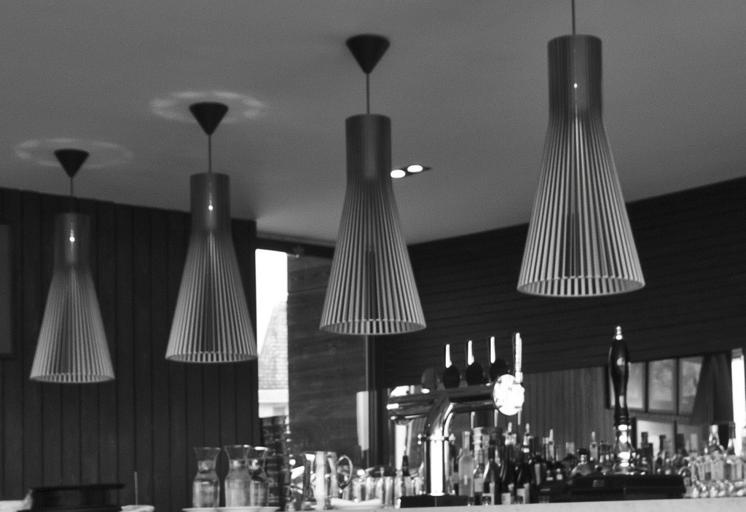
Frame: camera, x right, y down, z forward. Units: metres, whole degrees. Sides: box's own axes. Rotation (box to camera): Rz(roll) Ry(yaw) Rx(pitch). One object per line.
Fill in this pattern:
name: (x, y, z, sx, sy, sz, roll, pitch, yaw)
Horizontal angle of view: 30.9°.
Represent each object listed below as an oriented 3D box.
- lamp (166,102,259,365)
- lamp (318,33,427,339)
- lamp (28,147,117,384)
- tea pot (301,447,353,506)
lamp: (-1.012, -0.134, 8.602, 0.549, 1.639, 0.492, 1, -15, -7)
lamp: (-0.007, -0.180, 7.788, 0.581, 1.224, 0.320, 0, -15, -3)
lamp: (-2.014, 0.108, 9.292, 0.521, 1.569, 0.755, 1, -15, -6)
tea pot: (-0.276, 1.375, 8.251, 0.288, 0.351, 0.603, -1, -16, 1)
